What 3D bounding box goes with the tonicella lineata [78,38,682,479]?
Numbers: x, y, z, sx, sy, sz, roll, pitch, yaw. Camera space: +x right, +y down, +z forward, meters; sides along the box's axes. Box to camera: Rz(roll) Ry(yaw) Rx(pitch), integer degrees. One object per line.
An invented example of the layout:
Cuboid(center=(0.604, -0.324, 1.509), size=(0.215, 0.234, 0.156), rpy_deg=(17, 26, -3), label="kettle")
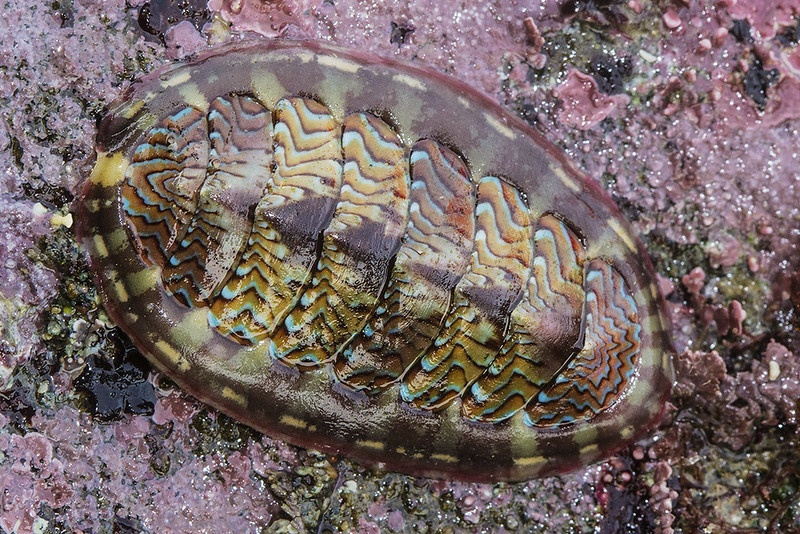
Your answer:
Cuboid(center=(-0.181, -0.048, 4.628), size=(3.056, 0.901, 2.009), rpy_deg=(21, 83, -1), label="tonicella lineata")
